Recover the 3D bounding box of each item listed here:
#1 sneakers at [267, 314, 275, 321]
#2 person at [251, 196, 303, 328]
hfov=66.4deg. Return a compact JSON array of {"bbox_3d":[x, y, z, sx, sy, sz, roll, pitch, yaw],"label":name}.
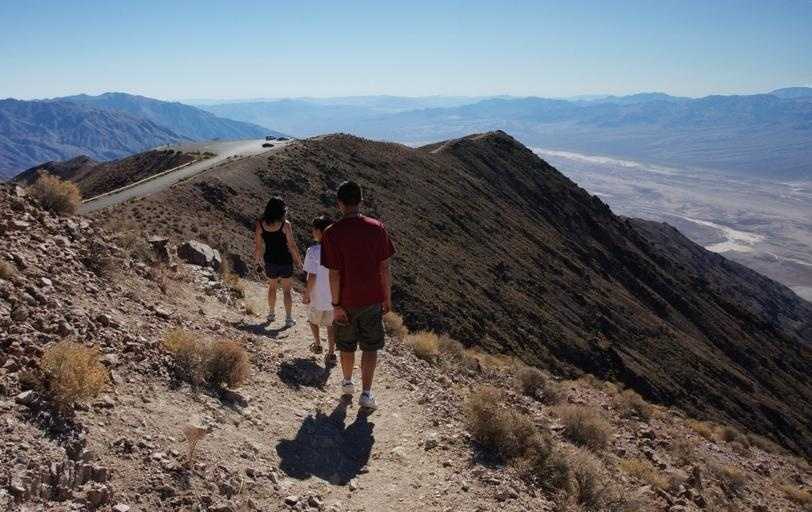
[{"bbox_3d":[-3.492,1.624,16.140,0.176,0.171,0.173,2,-5,-21],"label":"sneakers"},{"bbox_3d":[-3.182,0.214,15.561,1.136,3.377,0.687,9,20,23],"label":"person"}]
